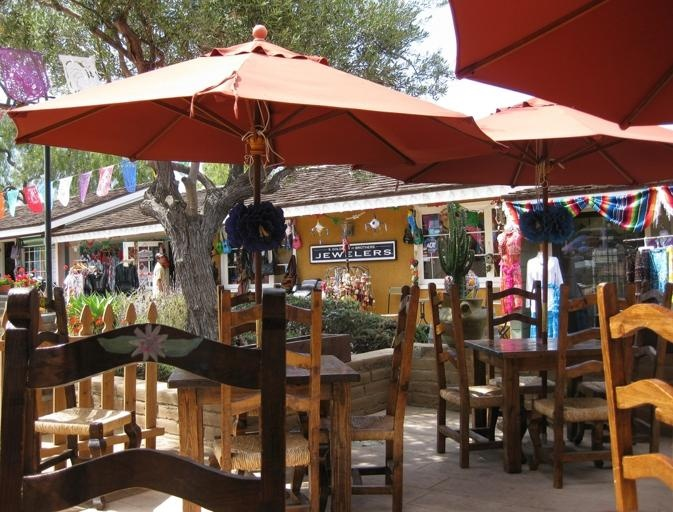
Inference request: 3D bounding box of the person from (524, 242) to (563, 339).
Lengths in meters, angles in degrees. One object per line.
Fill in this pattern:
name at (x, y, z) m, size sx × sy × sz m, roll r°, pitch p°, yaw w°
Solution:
person at (2.818, 0.359, 8.781) m, size 0.378 × 0.923 × 0.229 m, roll 7°, pitch 43°, yaw 31°
